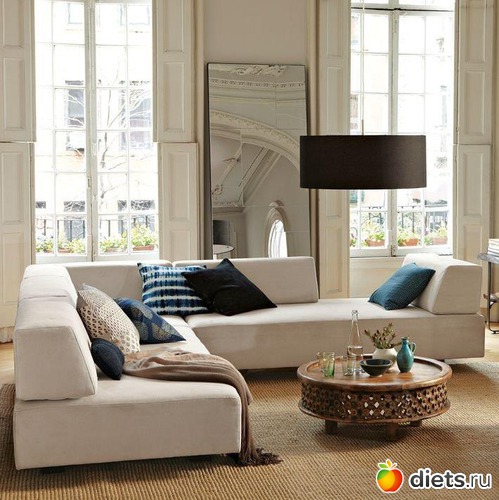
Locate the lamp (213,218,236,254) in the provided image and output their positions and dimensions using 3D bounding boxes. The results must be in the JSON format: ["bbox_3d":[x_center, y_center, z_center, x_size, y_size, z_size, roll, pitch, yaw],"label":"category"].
[{"bbox_3d":[-0.252,-0.151,5.283,0.282,0.324,0.302,-1,-3,8],"label":"lamp"}]

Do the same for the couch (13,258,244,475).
[{"bbox_3d":[-0.681,0.534,2.649,0.945,0.795,1.332,0,1,-16],"label":"couch"}]

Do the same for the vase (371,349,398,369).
[{"bbox_3d":[0.715,0.558,2.789,0.095,0.082,0.112,-2,5,-36],"label":"vase"}]

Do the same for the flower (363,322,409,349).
[{"bbox_3d":[0.829,0.522,3.256,0.265,0.152,0.340,0,2,-7],"label":"flower"}]
